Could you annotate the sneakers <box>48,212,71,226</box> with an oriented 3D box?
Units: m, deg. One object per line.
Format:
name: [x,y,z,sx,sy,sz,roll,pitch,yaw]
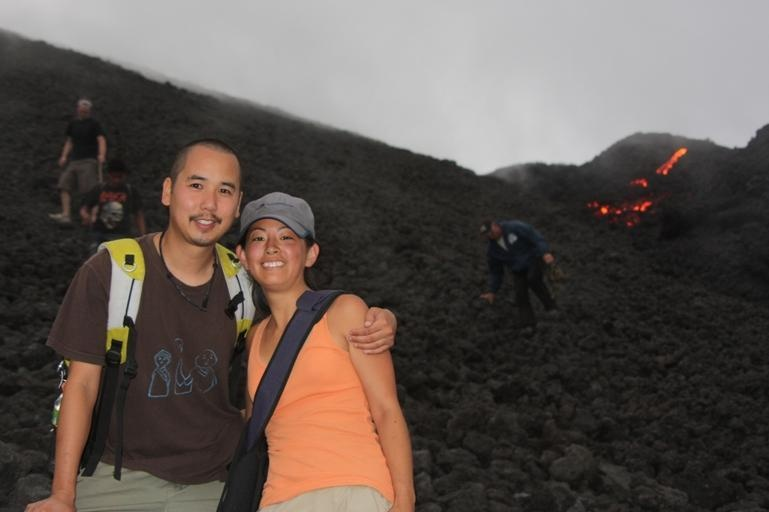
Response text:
sneakers: [-6.761,-0.770,12.881,0.501,0.217,0.171,15,15,20]

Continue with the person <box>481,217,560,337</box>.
person: [2.292,0.362,10.547,0.983,1.454,1.877,15,8,41]

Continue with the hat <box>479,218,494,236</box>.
hat: [1.672,-0.473,10.103,0.177,0.206,0.330,11,6,7]
